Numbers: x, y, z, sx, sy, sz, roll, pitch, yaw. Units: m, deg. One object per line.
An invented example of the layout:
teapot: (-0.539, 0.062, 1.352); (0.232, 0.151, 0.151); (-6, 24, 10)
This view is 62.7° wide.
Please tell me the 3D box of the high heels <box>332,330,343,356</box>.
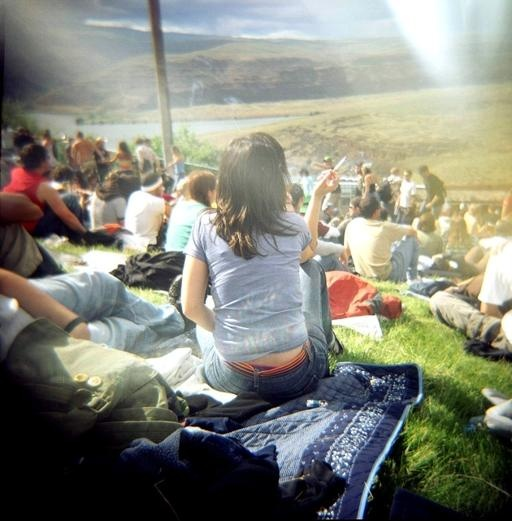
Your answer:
high heels: (0.414, 0.428, 2.149); (0.043, 0.132, 0.050); (-14, 9, 25)

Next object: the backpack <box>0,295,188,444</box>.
backpack: (-0.505, 0.396, 1.320); (0.514, 0.204, 0.373); (35, 9, -22)

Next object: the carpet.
carpet: (0.284, 0.551, 1.535); (0.491, 0.066, 0.781); (10, 21, 35)
